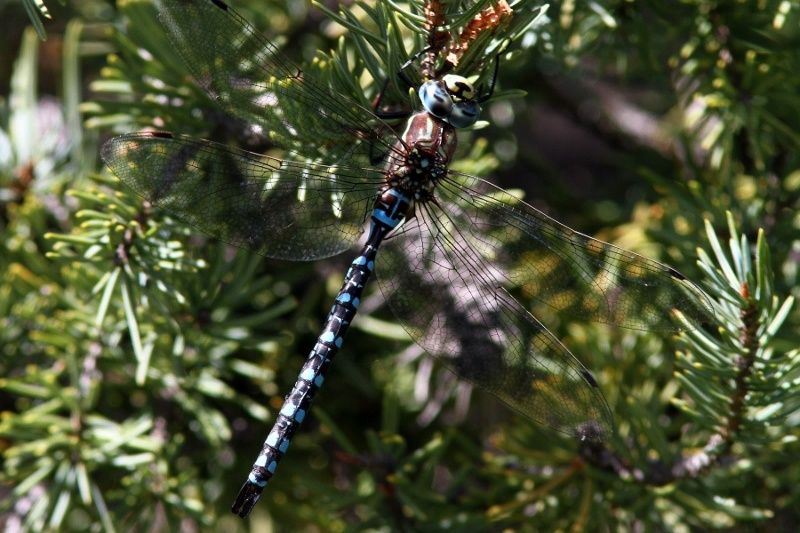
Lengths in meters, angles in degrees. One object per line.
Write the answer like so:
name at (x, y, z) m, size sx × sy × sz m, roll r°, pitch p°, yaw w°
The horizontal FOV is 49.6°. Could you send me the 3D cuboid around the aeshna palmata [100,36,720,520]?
aeshna palmata at (0.034, -0.070, 2.254) m, size 1.400 × 1.100 × 0.305 m, roll 26°, pitch 8°, yaw -11°
